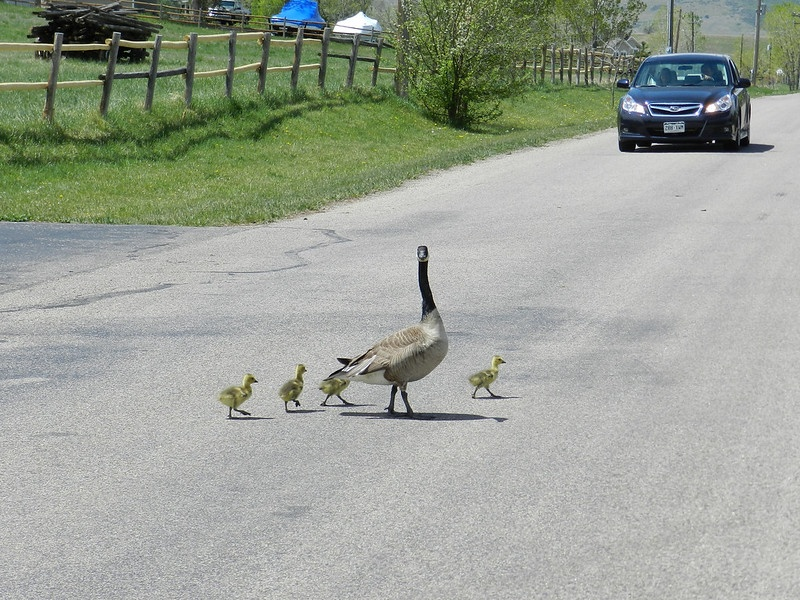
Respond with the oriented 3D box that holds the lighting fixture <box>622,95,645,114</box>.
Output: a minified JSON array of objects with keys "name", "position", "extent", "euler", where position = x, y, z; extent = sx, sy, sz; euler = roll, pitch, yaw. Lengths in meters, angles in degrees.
[{"name":"lighting fixture","position":[4.340,-3.561,26.895],"extent":[0.297,0.141,0.402],"euler":[7,24,-23]}]

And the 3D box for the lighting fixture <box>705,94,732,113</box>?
[{"name":"lighting fixture","position":[5.889,-3.455,26.406],"extent":[0.648,0.278,0.288],"euler":[-12,21,-40]}]

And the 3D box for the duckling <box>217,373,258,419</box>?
[{"name":"duckling","position":[-1.338,0.800,12.416],"extent":[0.257,0.316,0.438],"euler":[16,21,40]}]

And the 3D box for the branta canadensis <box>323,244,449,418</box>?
[{"name":"branta canadensis","position":[-0.027,0.489,12.067],"extent":[0.834,1.074,0.428],"euler":[-1,16,-6]}]

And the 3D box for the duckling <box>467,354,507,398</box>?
[{"name":"duckling","position":[0.734,0.676,12.793],"extent":[0.457,0.325,0.224],"euler":[-3,5,-26]}]
